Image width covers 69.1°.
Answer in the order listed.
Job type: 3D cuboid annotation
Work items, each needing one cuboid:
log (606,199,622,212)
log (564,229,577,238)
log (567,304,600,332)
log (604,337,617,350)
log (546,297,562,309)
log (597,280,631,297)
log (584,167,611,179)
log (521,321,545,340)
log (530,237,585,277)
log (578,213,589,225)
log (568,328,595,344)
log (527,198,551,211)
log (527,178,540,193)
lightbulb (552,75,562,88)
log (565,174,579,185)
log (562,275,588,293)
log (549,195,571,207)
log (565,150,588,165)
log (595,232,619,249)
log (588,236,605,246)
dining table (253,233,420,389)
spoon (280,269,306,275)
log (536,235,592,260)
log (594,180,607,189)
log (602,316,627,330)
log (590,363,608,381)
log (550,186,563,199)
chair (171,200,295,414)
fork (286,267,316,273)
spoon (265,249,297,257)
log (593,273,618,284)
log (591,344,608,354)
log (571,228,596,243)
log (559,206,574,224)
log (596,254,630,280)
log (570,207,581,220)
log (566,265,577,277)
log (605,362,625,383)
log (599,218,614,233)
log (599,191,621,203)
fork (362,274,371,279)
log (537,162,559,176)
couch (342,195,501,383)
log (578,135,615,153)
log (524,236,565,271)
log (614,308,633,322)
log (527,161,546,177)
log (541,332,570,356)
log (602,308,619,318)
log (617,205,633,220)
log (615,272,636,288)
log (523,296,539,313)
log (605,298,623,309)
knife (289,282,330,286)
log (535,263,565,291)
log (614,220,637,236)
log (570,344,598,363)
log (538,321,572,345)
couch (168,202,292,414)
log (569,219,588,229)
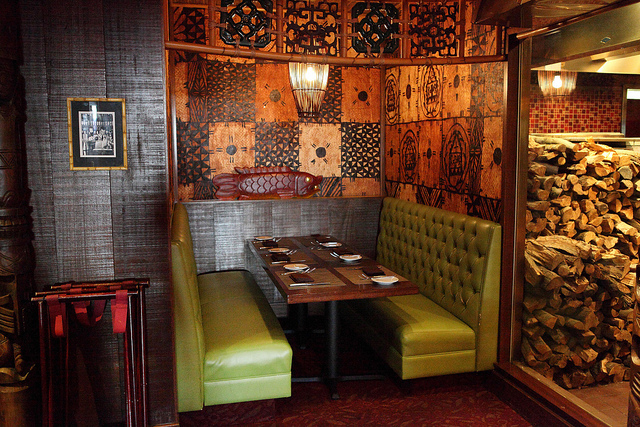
[{"bbox_3d":[2.400,-0.069,3.783,0.103,0.101,0.042,-29,4,23],"label":"log"},{"bbox_3d":[2.037,0.164,3.776,0.110,0.072,0.060,-2,15,-3],"label":"log"},{"bbox_3d":[2.108,0.819,3.671,0.191,0.183,0.195,1,3,-15],"label":"log"},{"bbox_3d":[2.347,1.045,3.741,0.093,0.081,0.022,1,0,-22],"label":"log"},{"bbox_3d":[1.867,0.718,3.762,0.149,0.077,0.129,-1,5,-7],"label":"log"},{"bbox_3d":[2.295,0.596,3.638,0.220,0.130,0.048,9,19,39],"label":"log"},{"bbox_3d":[2.216,-0.324,3.698,0.111,0.109,0.027,-44,-1,14],"label":"log"},{"bbox_3d":[1.766,0.959,3.824,0.150,0.145,0.061,5,23,26],"label":"log"},{"bbox_3d":[1.925,0.380,3.670,0.305,0.229,0.111,4,16,24],"label":"log"},{"bbox_3d":[2.140,0.041,3.758,0.080,0.091,0.029,-4,15,-7],"label":"log"},{"bbox_3d":[2.081,0.970,3.703,0.092,0.067,0.163,33,-15,-22],"label":"log"},{"bbox_3d":[1.772,-0.070,3.765,0.167,0.098,0.078,4,16,23],"label":"log"},{"bbox_3d":[1.711,-0.224,3.733,0.045,0.098,0.100,6,13,-8],"label":"log"},{"bbox_3d":[1.902,-1.053,3.719,0.079,0.104,0.077,-1,2,3],"label":"lightbulb"},{"bbox_3d":[2.013,-0.275,3.742,0.068,0.077,0.088,-39,11,-9],"label":"log"},{"bbox_3d":[2.035,0.560,3.681,0.166,0.110,0.066,20,-10,42],"label":"log"},{"bbox_3d":[1.942,-0.099,3.748,0.147,0.104,0.052,5,17,28],"label":"log"},{"bbox_3d":[2.048,-0.445,3.713,0.147,0.110,0.053,5,17,28],"label":"log"},{"bbox_3d":[2.357,0.216,3.813,0.162,0.056,0.140,39,34,6],"label":"log"},{"bbox_3d":[2.246,0.226,3.757,0.103,0.075,0.092,17,25,-3],"label":"log"},{"bbox_3d":[-0.027,0.878,4.297,1.016,0.918,1.927,0,8,-13],"label":"dining table"},{"bbox_3d":[-0.214,0.478,3.793,0.249,0.031,0.027,-2,-1,-22],"label":"spoon"},{"bbox_3d":[1.969,0.249,3.702,0.178,0.099,0.313,-5,24,-27],"label":"log"},{"bbox_3d":[2.242,-0.230,3.708,0.098,0.072,0.035,-3,15,-4],"label":"log"},{"bbox_3d":[2.347,0.862,3.678,0.125,0.088,0.092,8,17,29],"label":"log"},{"bbox_3d":[2.243,1.273,3.733,0.037,0.125,0.134,-1,7,-19],"label":"log"},{"bbox_3d":[1.895,-0.171,3.736,0.079,0.081,0.094,-3,2,-14],"label":"log"},{"bbox_3d":[-0.773,0.777,3.963,0.751,1.000,1.535,-4,15,-17],"label":"chair"},{"bbox_3d":[-0.151,0.473,3.829,0.330,0.048,0.059,1,8,-13],"label":"fork"},{"bbox_3d":[-0.367,0.368,4.366,0.331,0.047,0.045,-2,6,-23],"label":"spoon"},{"bbox_3d":[2.250,0.513,3.639,0.029,0.062,0.099,-37,13,-36],"label":"log"},{"bbox_3d":[2.248,1.091,3.731,0.090,0.085,0.062,6,-8,-15],"label":"log"},{"bbox_3d":[2.145,0.185,3.775,0.099,0.076,0.179,-29,13,-7],"label":"log"},{"bbox_3d":[1.994,0.006,3.750,0.139,0.117,0.047,-6,6,-13],"label":"log"},{"bbox_3d":[2.309,0.418,3.634,0.239,0.180,0.109,-5,15,-8],"label":"log"},{"bbox_3d":[2.063,-0.008,3.750,0.100,0.092,0.032,-5,12,-2],"label":"log"},{"bbox_3d":[1.971,0.453,3.630,0.083,0.107,0.045,-4,15,-4],"label":"log"},{"bbox_3d":[2.379,1.280,3.744,0.188,0.181,0.043,-6,15,-15],"label":"log"},{"bbox_3d":[2.322,0.087,3.760,0.059,0.102,0.106,-5,8,-14],"label":"log"},{"bbox_3d":[2.357,-0.136,3.753,0.185,0.099,0.033,-5,15,-9],"label":"log"},{"bbox_3d":[0.369,0.501,3.698,0.033,0.041,0.106,-8,5,-24],"label":"fork"},{"bbox_3d":[1.879,-0.358,3.772,0.120,0.103,0.040,-5,-8,39],"label":"log"},{"bbox_3d":[0.929,0.706,4.082,0.772,0.988,1.572,-2,8,-17],"label":"couch"},{"bbox_3d":[2.259,-0.582,3.846,0.292,0.114,0.253,-1,14,5],"label":"log"},{"bbox_3d":[1.789,0.319,3.710,0.175,0.094,0.283,-41,52,-10],"label":"log"},{"bbox_3d":[2.395,0.789,3.644,0.073,0.123,0.114,-16,20,-41],"label":"log"},{"bbox_3d":[1.744,-0.360,3.751,0.065,0.091,0.163,33,-3,-38],"label":"log"},{"bbox_3d":[1.908,1.062,3.789,0.079,0.130,0.198,-37,43,7],"label":"log"},{"bbox_3d":[2.316,0.783,3.691,0.071,0.047,0.129,-10,-4,-16],"label":"log"},{"bbox_3d":[2.504,-0.009,3.787,0.172,0.093,0.119,11,2,32],"label":"log"},{"bbox_3d":[2.348,0.514,3.577,0.141,0.038,0.152,-23,19,-22],"label":"log"},{"bbox_3d":[1.719,0.735,3.790,0.032,0.109,0.113,7,20,-37],"label":"log"},{"bbox_3d":[2.324,0.705,3.663,0.112,0.096,0.027,4,16,24],"label":"log"},{"bbox_3d":[-0.078,0.537,3.535,0.294,0.022,0.041,-4,14,-6],"label":"knife"},{"bbox_3d":[1.819,0.515,3.683,0.120,0.069,0.197,-9,16,-5],"label":"log"},{"bbox_3d":[2.463,0.115,3.746,0.113,0.070,0.190,-20,26,-7],"label":"log"},{"bbox_3d":[2.116,1.114,3.715,0.142,0.040,0.147,-43,34,-5],"label":"log"},{"bbox_3d":[1.916,0.972,3.803,0.121,0.083,0.211,-36,62,-27],"label":"log"},{"bbox_3d":[-0.785,0.780,3.914,0.687,1.019,1.495,-4,15,-15],"label":"couch"},{"bbox_3d":[2.108,0.088,3.770,0.099,0.072,0.069,34,53,26],"label":"log"}]
